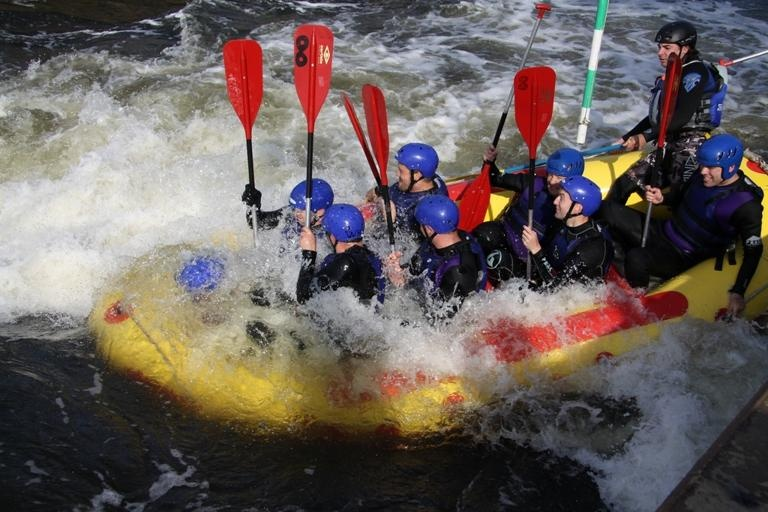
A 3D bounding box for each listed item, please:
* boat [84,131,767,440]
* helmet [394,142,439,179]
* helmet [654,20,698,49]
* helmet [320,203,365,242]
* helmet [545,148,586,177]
[{"bbox_3d":[0.571,0.837,7.832,6.263,0.974,2.824,-9,43,-12],"label":"boat"},{"bbox_3d":[0.360,-1.096,8.485,0.479,0.342,0.340,-5,28,4],"label":"helmet"},{"bbox_3d":[3.298,-2.534,8.568,0.420,0.262,0.291,-17,34,-8],"label":"helmet"},{"bbox_3d":[-0.443,-0.348,7.746,0.349,0.329,0.411,-14,47,-25],"label":"helmet"},{"bbox_3d":[1.955,-1.014,8.210,0.394,0.311,0.279,7,8,-5],"label":"helmet"}]
